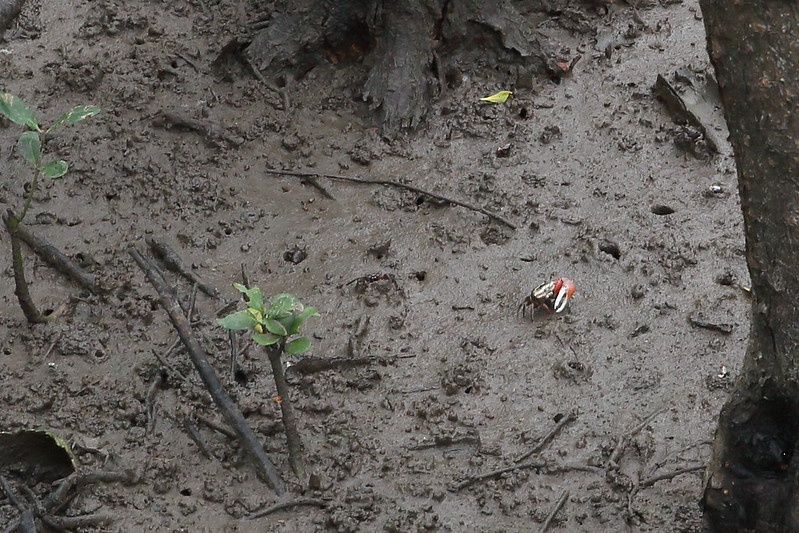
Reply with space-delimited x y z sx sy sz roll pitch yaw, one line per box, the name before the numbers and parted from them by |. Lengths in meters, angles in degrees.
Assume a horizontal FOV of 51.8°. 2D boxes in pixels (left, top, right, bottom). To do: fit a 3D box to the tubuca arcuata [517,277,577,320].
tubuca arcuata | 1.446 0.288 7.976 0.411 0.181 0.420 -26 14 -9
